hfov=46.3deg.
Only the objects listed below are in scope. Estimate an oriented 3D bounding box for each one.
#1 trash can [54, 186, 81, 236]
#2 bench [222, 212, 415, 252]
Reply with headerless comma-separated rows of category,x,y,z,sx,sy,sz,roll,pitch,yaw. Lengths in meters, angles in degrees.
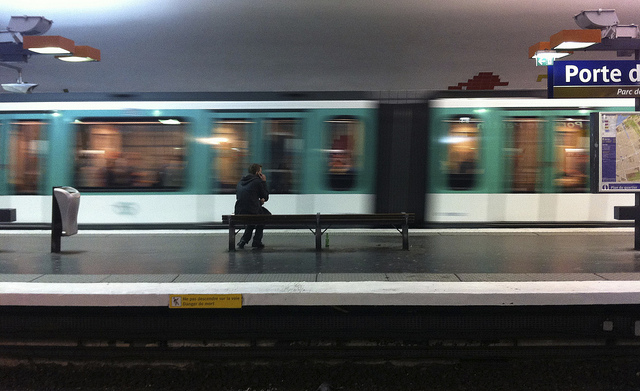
trash can,-5.466,0.327,16.200,0.520,1.050,0.240,-2,2,-33
bench,-0.006,0.739,16.460,4.128,0.661,0.695,-1,10,3
